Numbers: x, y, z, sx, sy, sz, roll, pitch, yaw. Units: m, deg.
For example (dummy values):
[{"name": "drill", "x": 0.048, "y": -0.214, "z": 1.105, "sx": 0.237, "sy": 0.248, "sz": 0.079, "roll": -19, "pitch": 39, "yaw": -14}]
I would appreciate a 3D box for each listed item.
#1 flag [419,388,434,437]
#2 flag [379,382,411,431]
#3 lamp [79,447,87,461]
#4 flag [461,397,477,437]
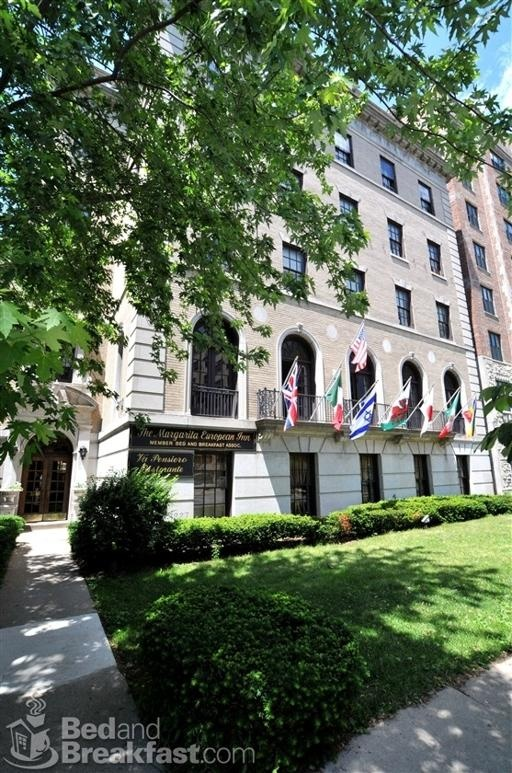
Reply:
[{"name": "flag", "x": 7.200, "y": 1.044, "z": 18.215, "sx": 0.557, "sy": 1.823, "sz": 3.005, "roll": -8, "pitch": -14, "yaw": 22}, {"name": "flag", "x": 5.229, "y": 0.742, "z": 16.103, "sx": 1.030, "sy": 1.728, "sz": 2.609, "roll": -6, "pitch": -13, "yaw": 16}, {"name": "lamp", "x": -6.712, "y": 2.577, "z": 16.906, "sx": 0.277, "sy": 0.490, "sz": 0.214, "roll": -1, "pitch": -14, "yaw": -4}, {"name": "flag", "x": 9.995, "y": 1.385, "z": 20.276, "sx": 0.611, "sy": 1.770, "sz": 4.172, "roll": -8, "pitch": -14, "yaw": 25}]
